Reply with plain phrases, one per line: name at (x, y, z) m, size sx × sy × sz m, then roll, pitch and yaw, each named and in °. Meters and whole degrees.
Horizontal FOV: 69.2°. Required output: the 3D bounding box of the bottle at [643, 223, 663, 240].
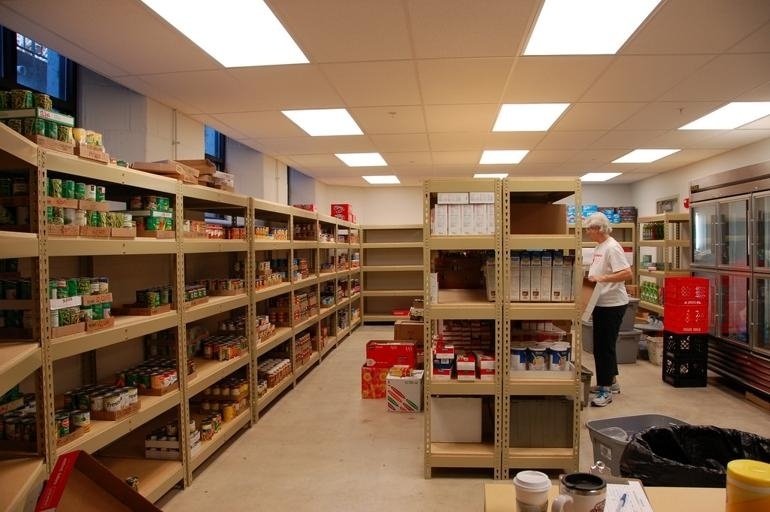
bottle at (3.999, -0.364, 8.311) m, size 0.212 × 0.346 × 0.386 m, roll 1°, pitch 0°, yaw 0°
